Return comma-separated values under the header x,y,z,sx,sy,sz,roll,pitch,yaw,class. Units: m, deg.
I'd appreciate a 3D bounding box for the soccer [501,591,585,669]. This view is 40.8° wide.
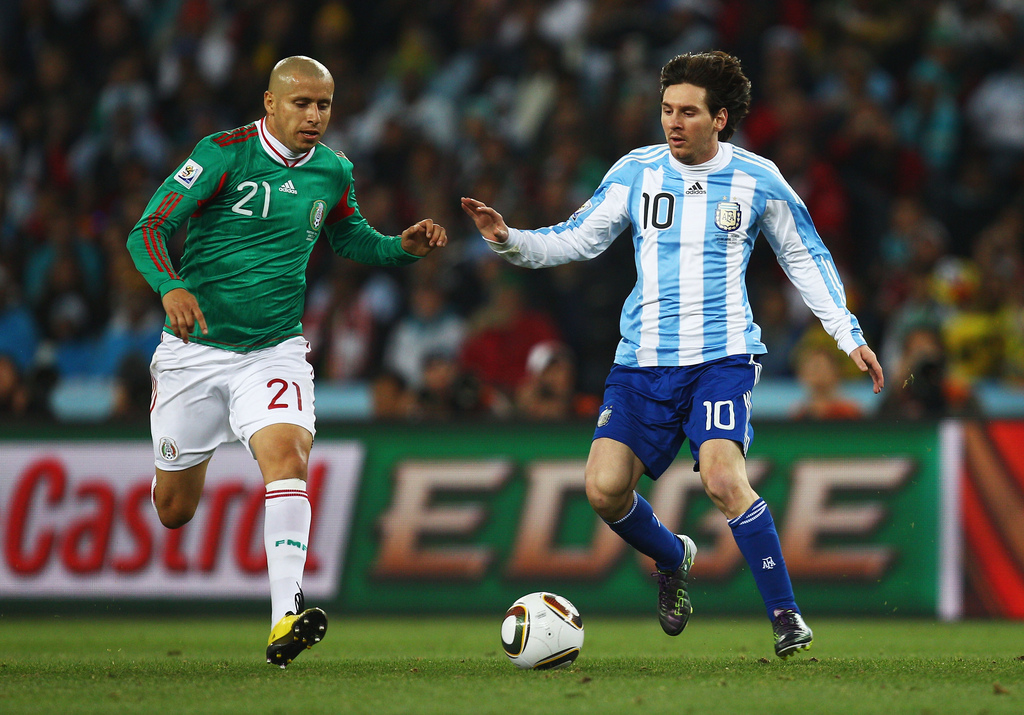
x,y,z,sx,sy,sz,roll,pitch,yaw,class
0.233,1.683,8.622,0.436,0.435,0.447,2,14,31,soccer

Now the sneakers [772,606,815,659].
x,y,z,sx,sy,sz,roll,pitch,yaw,class
1.732,1.706,8.590,0.211,0.239,0.500,-10,-2,7,sneakers
